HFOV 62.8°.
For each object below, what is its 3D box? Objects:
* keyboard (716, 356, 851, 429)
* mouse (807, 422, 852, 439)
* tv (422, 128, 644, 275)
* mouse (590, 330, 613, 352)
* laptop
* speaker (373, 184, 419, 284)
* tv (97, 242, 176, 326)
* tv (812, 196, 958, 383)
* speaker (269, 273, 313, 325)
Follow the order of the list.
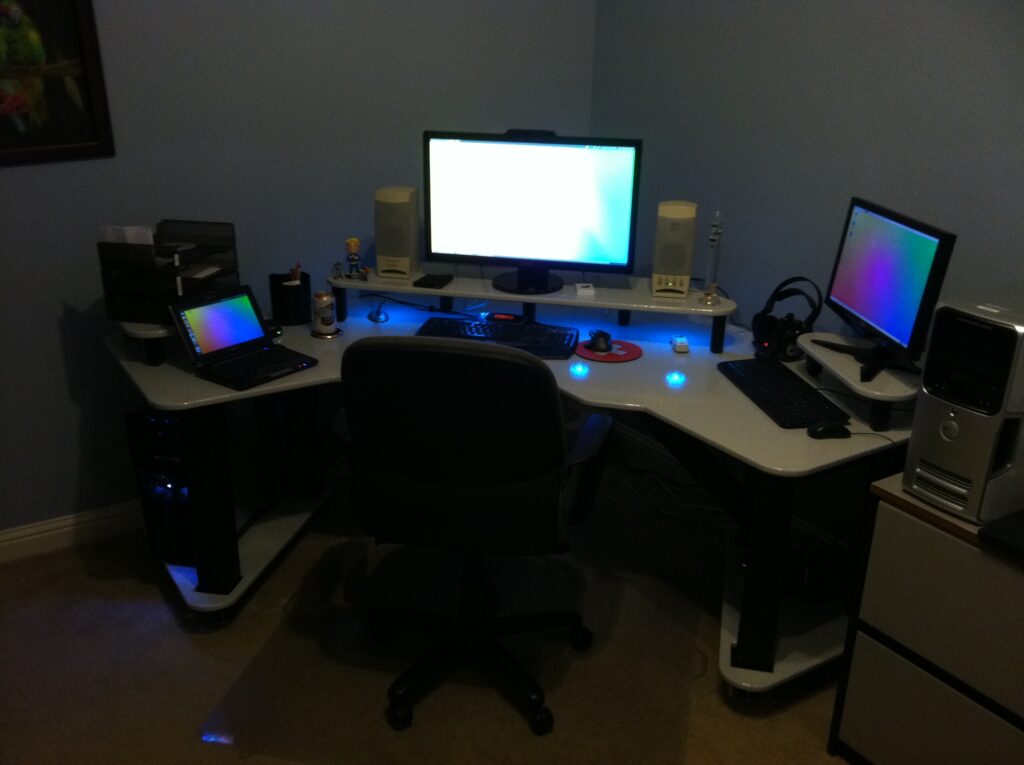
[{"bbox_3d":[0.866,0.034,2.702,0.225,0.069,0.495,-5,23,-14],"label":"keyboard"},{"bbox_3d":[0.937,0.147,2.489,0.095,0.036,0.055,3,30,4],"label":"mouse"},{"bbox_3d":[0.062,-0.656,3.043,0.561,0.369,0.049,4,24,5],"label":"tv"},{"bbox_3d":[0.310,-0.156,2.993,0.073,0.074,0.064,-15,15,-37],"label":"mouse"},{"bbox_3d":[-0.899,-0.163,2.799,0.363,0.247,0.390,-18,26,-39],"label":"laptop"},{"bbox_3d":[-0.441,-0.560,3.152,0.131,0.320,0.109,6,22,14],"label":"speaker"},{"bbox_3d":[-1.213,-0.365,2.863,0.325,0.330,0.182,4,13,18],"label":"tv"},{"bbox_3d":[1.112,-0.291,2.642,0.481,0.484,0.217,15,6,-31],"label":"tv"},{"bbox_3d":[-0.837,-0.309,3.147,0.122,0.224,0.124,-9,36,-21],"label":"speaker"}]
